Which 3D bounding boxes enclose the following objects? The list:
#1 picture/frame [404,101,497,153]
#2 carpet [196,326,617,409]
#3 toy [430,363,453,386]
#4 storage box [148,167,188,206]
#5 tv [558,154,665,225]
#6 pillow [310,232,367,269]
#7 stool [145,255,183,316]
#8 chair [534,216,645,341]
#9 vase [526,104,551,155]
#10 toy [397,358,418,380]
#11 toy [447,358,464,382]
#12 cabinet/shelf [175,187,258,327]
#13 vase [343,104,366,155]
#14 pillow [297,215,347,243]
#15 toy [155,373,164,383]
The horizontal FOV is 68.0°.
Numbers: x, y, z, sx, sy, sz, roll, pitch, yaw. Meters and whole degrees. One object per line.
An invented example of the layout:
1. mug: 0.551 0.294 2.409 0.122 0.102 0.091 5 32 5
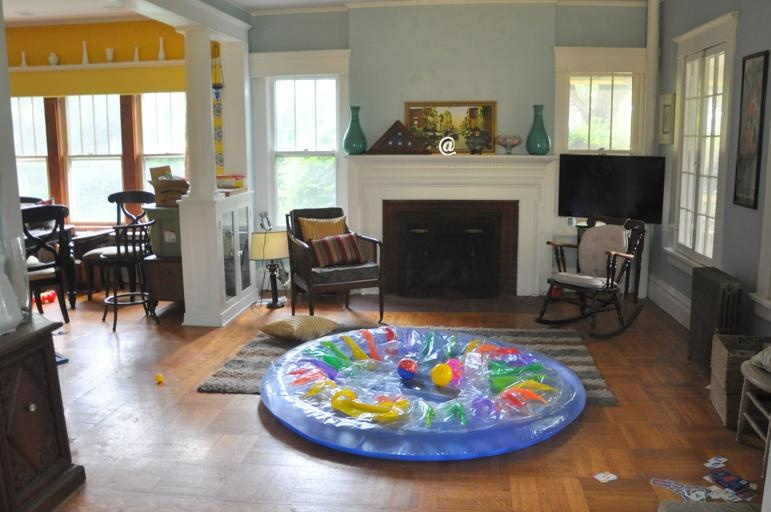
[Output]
1. picture/frame: 0.803 -1.597 7.040 1.191 0.640 0.058 -3 7 -13
2. carpet: 0.231 0.971 5.431 3.450 0.219 1.463 -2 11 4
3. toy: 0.455 0.952 4.682 0.181 0.168 0.197 -9 23 -14
4. storage box: -2.493 -0.791 6.647 0.484 0.390 0.545 1 5 -5
5. tv: 2.703 -0.795 6.716 0.964 0.604 0.038 3 8 14
6. pillow: -0.553 -0.052 6.426 0.616 0.338 0.178 -12 -16 -41
7. stool: -2.632 0.299 6.772 0.558 0.657 0.694 -1 12 -9
8. chair: 2.318 0.175 6.338 0.988 1.072 1.470 4 14 29
9. vase: 1.849 -1.521 6.907 0.280 0.601 0.240 1 14 16
10. toy: 0.197 0.938 4.792 0.168 0.178 0.158 -3 16 8
11. toy: 0.590 0.952 4.764 0.149 0.158 0.145 -5 -15 5
12. cabinet/shelf: -1.920 0.028 6.352 0.546 1.427 1.488 0 8 2
13. vase: -0.388 -1.545 7.037 0.292 0.586 0.267 -3 13 -1
14. pillow: -0.755 -0.300 6.674 0.372 0.230 0.062 -5 -25 -22
15. toy: -1.979 1.062 4.989 0.073 0.055 0.072 0 22 -30
